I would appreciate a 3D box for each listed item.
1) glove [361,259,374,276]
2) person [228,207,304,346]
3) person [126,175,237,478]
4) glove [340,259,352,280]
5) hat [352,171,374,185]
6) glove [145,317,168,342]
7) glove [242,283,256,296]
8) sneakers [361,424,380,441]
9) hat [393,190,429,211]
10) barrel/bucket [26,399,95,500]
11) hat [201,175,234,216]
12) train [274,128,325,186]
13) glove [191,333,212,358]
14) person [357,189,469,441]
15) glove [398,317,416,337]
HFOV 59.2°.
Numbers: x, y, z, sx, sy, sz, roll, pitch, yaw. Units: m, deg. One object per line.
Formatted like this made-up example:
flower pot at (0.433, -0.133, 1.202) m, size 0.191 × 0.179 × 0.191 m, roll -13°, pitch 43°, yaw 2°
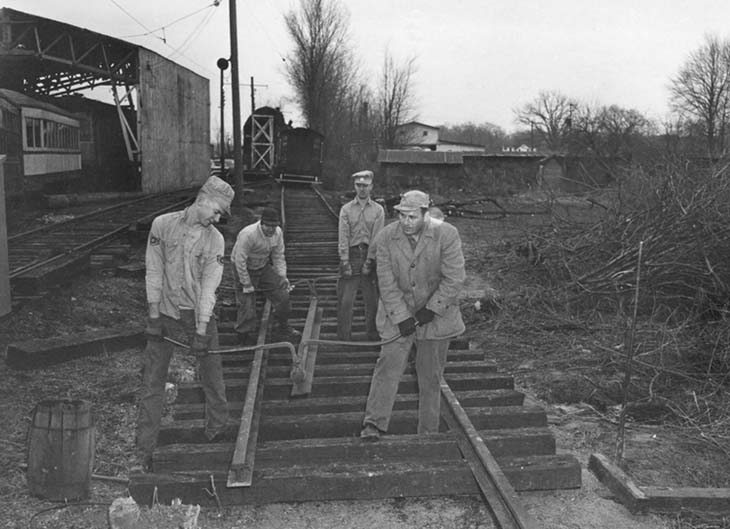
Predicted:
glove at (0.033, 0.038, 8.428) m, size 0.118 × 0.223 × 0.084 m, roll 7°, pitch 18°, yaw 7°
person at (-1.338, 0.116, 8.683) m, size 0.863 × 1.961 × 0.855 m, roll -3°, pitch 24°, yaw -8°
person at (-1.846, 0.553, 6.550) m, size 0.983 × 2.884 × 0.601 m, roll -1°, pitch 12°, yaw -14°
glove at (-0.249, 0.060, 8.471) m, size 0.163 × 0.277 × 0.101 m, roll 2°, pitch 12°, yaw -4°
hat at (-0.034, -1.143, 8.559) m, size 0.378 × 0.238 × 0.478 m, roll 0°, pitch 5°, yaw 1°
glove at (-2.093, 0.638, 6.446) m, size 0.275 × 0.338 × 0.181 m, roll 1°, pitch -3°, yaw -16°
glove at (-1.511, 0.315, 8.317) m, size 0.115 × 0.127 × 0.123 m, roll 7°, pitch 15°, yaw 16°
sneakers at (0.059, 1.793, 6.893) m, size 0.188 × 0.213 × 0.130 m, roll 0°, pitch -1°, yaw -1°
hat at (0.496, -0.622, 6.544) m, size 0.258 × 0.157 × 0.212 m, roll -7°, pitch 16°, yaw -2°
barrel/bucket at (-2.993, 1.665, 6.486) m, size 0.593 × 1.083 × 1.003 m, roll 4°, pitch 14°, yaw -17°
hat at (-1.535, -0.703, 6.636) m, size 0.318 × 0.442 × 0.537 m, roll -1°, pitch 13°, yaw -14°
train at (-3.128, -5.354, 31.033) m, size 1.734 × 2.049 × 3.085 m, roll 2°, pitch 16°, yaw -5°
glove at (-1.639, 0.793, 6.435) m, size 0.154 × 0.239 × 0.215 m, roll 11°, pitch 11°, yaw 34°
person at (0.524, 0.688, 6.764) m, size 0.975 × 2.504 × 0.578 m, roll 4°, pitch 12°, yaw 9°
glove at (0.431, 0.638, 6.571) m, size 0.165 × 0.174 × 0.057 m, roll -13°, pitch 10°, yaw -16°
